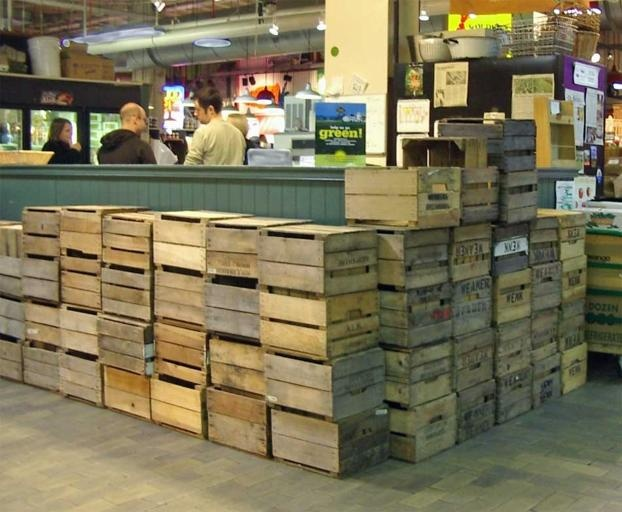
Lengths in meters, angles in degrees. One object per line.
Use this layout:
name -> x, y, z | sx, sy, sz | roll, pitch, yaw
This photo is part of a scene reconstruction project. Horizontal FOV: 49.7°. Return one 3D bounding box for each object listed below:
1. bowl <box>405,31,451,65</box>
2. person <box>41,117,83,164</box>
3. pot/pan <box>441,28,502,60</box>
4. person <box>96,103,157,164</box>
bowl -> 1.406, -2.483, 8.068 | 0.408, 0.356, 0.518 | -7, 8, -40
person -> -3.541, -1.537, 9.482 | 0.543, 0.789, 0.612 | 2, 13, -4
pot/pan -> 1.869, -2.354, 7.649 | 0.552, 0.220, 0.384 | 1, 5, 30
person -> -1.832, -1.164, 6.639 | 0.842, 0.644, 0.454 | 14, 21, 43
